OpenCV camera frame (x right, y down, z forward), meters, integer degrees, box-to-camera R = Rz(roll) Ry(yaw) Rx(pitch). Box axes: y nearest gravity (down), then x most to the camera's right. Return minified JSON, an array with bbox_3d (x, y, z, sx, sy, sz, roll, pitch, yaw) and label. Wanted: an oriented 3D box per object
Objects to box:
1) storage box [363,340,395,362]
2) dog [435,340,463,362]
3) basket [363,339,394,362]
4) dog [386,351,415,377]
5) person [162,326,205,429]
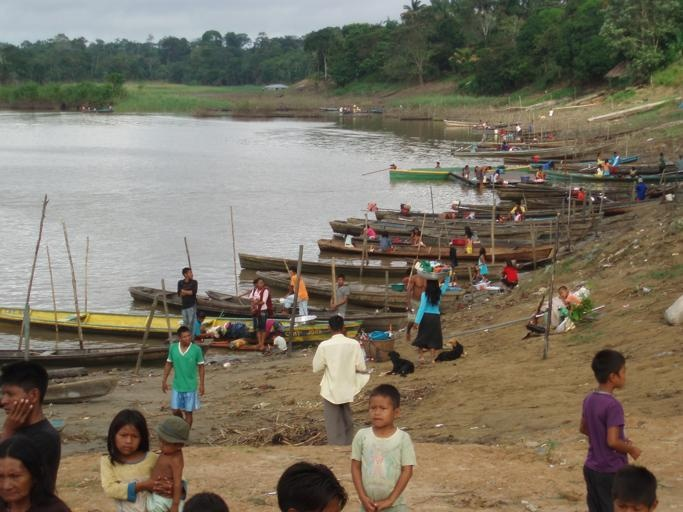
[{"bbox_3d":[1.113,2.897,33.472,0.799,0.442,0.727,0,-6,3],"label":"storage box"},{"bbox_3d":[3.176,2.790,32.315,0.804,0.602,0.554,0,3,14],"label":"dog"},{"bbox_3d":[1.167,2.886,33.453,0.814,0.449,0.728,0,-4,9],"label":"basket"},{"bbox_3d":[1.735,3.120,31.993,0.783,0.683,0.720,-1,3,2],"label":"dog"},{"bbox_3d":[-4.194,3.205,29.173,1.026,2.669,0.739,-1,4,-1],"label":"person"}]
